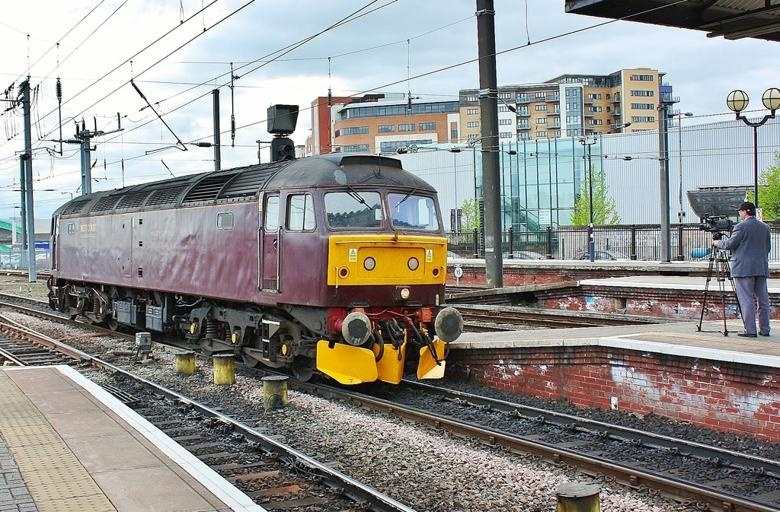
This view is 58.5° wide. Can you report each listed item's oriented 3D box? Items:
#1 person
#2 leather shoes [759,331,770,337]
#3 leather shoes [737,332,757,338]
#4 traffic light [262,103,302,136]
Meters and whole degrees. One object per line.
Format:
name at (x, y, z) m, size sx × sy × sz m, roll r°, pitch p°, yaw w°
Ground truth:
person at (6.742, 0.249, 13.077) m, size 0.719 × 2.508 × 0.898 m, roll 2°, pitch 9°, yaw 44°
leather shoes at (7.081, 1.459, 13.116) m, size 0.072 × 0.079 × 0.200 m, roll 0°, pitch -3°, yaw -12°
leather shoes at (6.662, 1.452, 12.913) m, size 0.301 × 0.106 × 0.111 m, roll 6°, pitch 3°, yaw 39°
traffic light at (-3.057, -3.870, 19.796) m, size 0.831 × 0.905 × 0.992 m, roll -7°, pitch 7°, yaw -24°
